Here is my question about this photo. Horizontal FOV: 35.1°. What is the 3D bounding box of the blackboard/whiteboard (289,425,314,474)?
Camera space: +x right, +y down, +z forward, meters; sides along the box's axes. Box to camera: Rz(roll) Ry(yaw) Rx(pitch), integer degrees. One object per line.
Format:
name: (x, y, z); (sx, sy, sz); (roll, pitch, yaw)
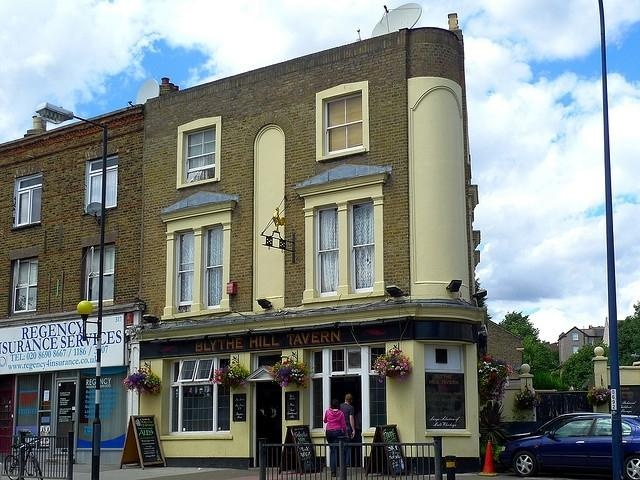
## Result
blackboard/whiteboard: (-0.643, 6.948, 33.469); (0.860, 1.694, 1.195); (-8, -15, 25)

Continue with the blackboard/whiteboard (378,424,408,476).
blackboard/whiteboard: (2.333, 6.760, 32.470); (0.581, 1.759, 1.424); (-19, -11, 14)

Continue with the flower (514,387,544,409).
flower: (8.269, 6.336, 40.385); (0.752, 0.904, 0.803); (1, -2, -1)

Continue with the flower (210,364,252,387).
flower: (-3.267, 4.858, 36.744); (0.860, 0.890, 0.967); (4, -3, -11)

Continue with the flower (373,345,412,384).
flower: (2.473, 4.318, 34.153); (1.217, 0.962, 1.224); (-4, -14, -5)

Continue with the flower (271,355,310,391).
flower: (-1.085, 4.602, 35.331); (0.974, 0.832, 1.045); (-5, -11, 25)

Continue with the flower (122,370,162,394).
flower: (-6.629, 5.324, 37.940); (0.899, 0.724, 0.975); (3, -2, 3)

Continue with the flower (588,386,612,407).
flower: (11.122, 6.178, 40.196); (0.776, 0.814, 0.861); (2, -6, -1)

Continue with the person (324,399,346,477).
person: (0.489, 6.018, 31.944); (0.422, 2.113, 0.724); (-1, -5, 18)
